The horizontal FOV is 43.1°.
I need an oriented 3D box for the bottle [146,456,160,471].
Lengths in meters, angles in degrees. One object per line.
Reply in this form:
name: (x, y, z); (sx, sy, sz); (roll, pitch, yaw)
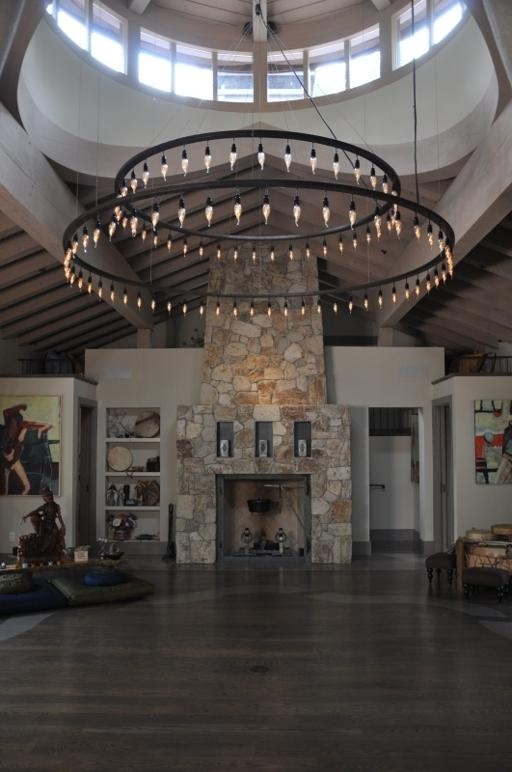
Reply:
bottle: (-1.700, 1.298, 10.975); (0.241, 0.317, 0.200); (1, 1, 7)

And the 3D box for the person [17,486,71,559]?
person: (-2.650, 1.771, 8.139); (0.507, 0.995, 0.277); (-1, -40, -11)

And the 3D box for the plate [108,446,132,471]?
plate: (-2.296, 1.233, 10.912); (0.412, 0.417, 0.180); (-3, -8, 22)

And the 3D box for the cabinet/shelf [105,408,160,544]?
cabinet/shelf: (-2.037, 1.734, 11.210); (0.965, 0.390, 2.516); (-4, 22, -8)

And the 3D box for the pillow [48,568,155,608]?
pillow: (-1.600, 2.105, 6.870); (1.032, 0.288, 0.649); (4, -8, -27)

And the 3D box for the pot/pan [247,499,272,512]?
pot/pan: (0.071, 1.990, 10.733); (0.390, 0.247, 0.352); (0, -7, 0)

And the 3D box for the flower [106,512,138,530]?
flower: (-2.245, 2.264, 10.889); (0.484, 0.301, 0.072); (1, -7, -6)

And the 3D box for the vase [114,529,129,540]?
vase: (-2.218, 2.474, 10.808); (0.260, 0.154, 0.128); (2, -8, -14)

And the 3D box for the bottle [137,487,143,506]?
bottle: (-1.925, 1.832, 10.858); (0.068, 0.284, 0.115); (2, -7, -11)
